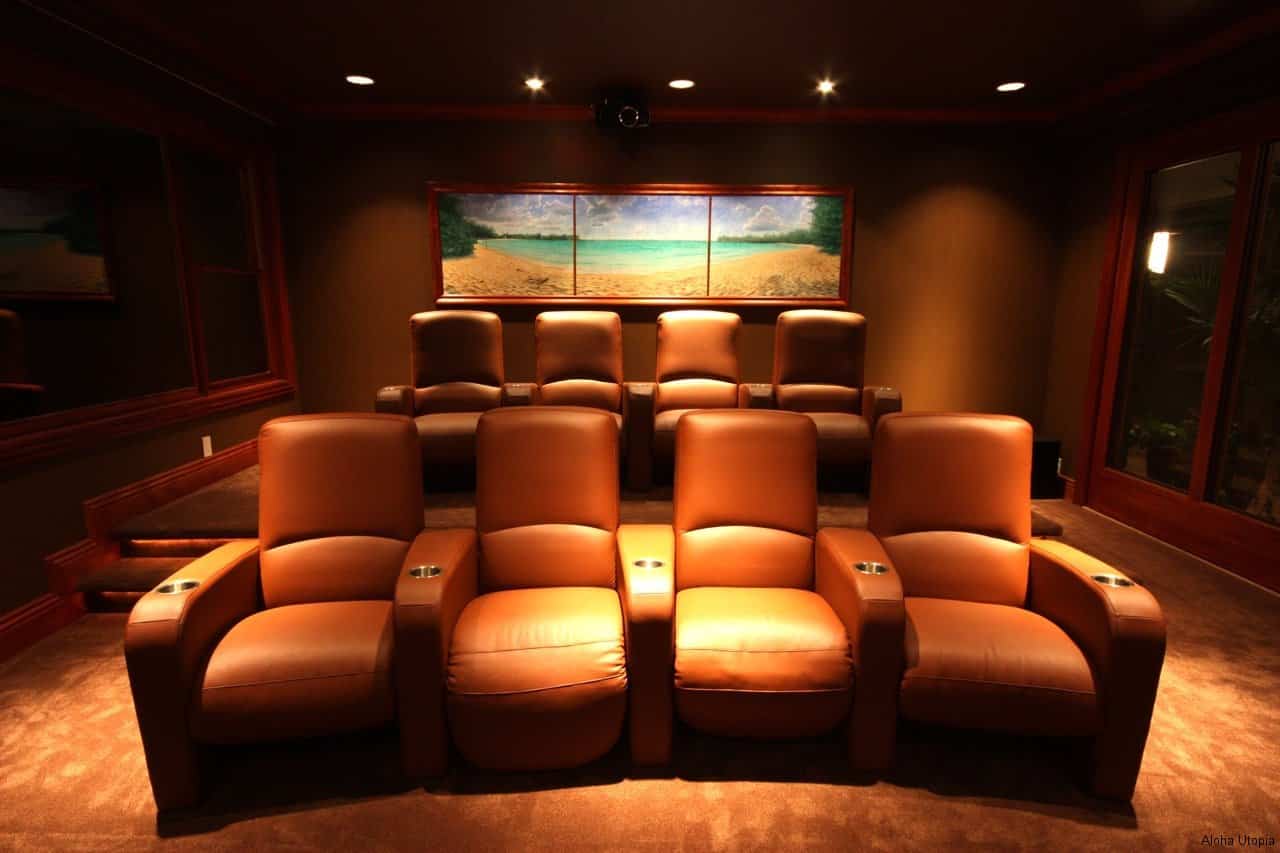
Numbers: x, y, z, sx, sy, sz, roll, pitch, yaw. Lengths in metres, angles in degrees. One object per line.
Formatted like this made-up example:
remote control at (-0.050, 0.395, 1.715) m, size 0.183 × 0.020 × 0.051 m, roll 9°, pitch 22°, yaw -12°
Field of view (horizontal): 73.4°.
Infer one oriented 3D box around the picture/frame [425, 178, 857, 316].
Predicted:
picture/frame at (0.015, -1.570, 7.327) m, size 3.508 × 1.006 × 0.080 m, roll 2°, pitch 12°, yaw -1°
